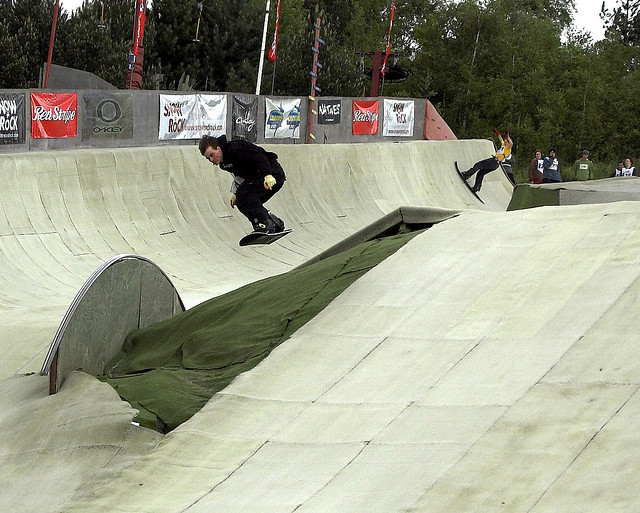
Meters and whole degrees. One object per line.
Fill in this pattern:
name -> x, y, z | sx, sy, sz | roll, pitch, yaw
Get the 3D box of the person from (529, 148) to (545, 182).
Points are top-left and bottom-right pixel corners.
person -> 4.853, -2.026, 18.601 | 0.301, 0.707, 1.306 | 2, 7, 14

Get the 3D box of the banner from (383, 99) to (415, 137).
banner -> 2.088, -3.684, 22.097 | 1.386, 1.005, 0.053 | -7, 9, -43

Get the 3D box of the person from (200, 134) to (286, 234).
person -> -0.880, -0.821, 9.737 | 0.872, 1.140, 1.024 | 1, 6, -3

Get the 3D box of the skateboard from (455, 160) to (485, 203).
skateboard -> 3.841, -1.902, 21.442 | 0.155, 1.545, 0.180 | -15, 34, 39

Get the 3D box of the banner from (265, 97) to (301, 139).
banner -> -0.820, -3.112, 18.679 | 0.061, 0.935, 1.253 | 16, 18, 39

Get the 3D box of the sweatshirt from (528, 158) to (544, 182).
sweatshirt -> 4.864, -1.984, 18.728 | 0.349, 0.701, 0.636 | 3, 11, 16

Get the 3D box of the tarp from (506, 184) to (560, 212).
tarp -> 3.493, -0.960, 13.630 | 0.605, 0.603, 0.765 | 1, 6, -33

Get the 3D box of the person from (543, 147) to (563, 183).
person -> 5.030, -1.970, 17.994 | 0.366, 0.741, 1.651 | 3, 7, 15

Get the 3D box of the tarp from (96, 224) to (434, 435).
tarp -> -0.506, 0.554, 7.605 | 0.931, 0.248, 3.357 | 38, 43, 23

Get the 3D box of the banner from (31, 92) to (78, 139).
banner -> -4.673, -2.483, 14.533 | 0.060, 0.800, 1.060 | 13, 16, 32

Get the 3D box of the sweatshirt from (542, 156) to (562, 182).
sweatshirt -> 5.007, -1.906, 17.996 | 0.358, 0.520, 0.564 | 3, 7, 15

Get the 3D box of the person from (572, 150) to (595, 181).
person -> 5.644, -1.955, 17.790 | 0.365, 0.594, 0.922 | 3, 7, 17

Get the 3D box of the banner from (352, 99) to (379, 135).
banner -> 1.117, -3.493, 20.881 | 0.946, 0.847, 0.061 | -7, 13, -39

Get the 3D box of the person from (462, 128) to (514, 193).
person -> 4.314, -2.501, 21.255 | 1.760, 0.659, 0.780 | -46, 4, -6

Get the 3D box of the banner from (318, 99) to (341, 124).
banner -> 0.175, -3.463, 19.886 | 0.077, 0.443, 0.592 | -13, 0, 36
